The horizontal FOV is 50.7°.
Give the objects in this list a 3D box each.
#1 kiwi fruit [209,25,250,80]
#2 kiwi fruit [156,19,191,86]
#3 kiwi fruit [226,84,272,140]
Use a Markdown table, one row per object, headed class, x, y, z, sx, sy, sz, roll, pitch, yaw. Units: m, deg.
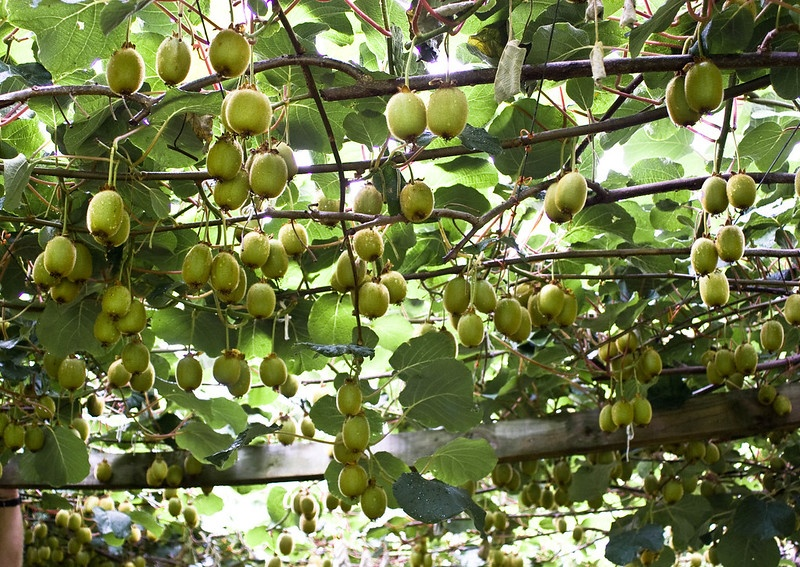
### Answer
| class | x | y | z | sx | sy | sz | roll | pitch | yaw |
| --- | --- | --- | --- | --- | --- | --- | --- | --- | --- |
| kiwi fruit | -0.439 | -0.597 | 2.173 | 0.104 | 0.123 | 0.103 | 2 | -11 | 31 |
| kiwi fruit | -0.588 | -0.583 | 2.199 | 0.076 | 0.074 | 0.126 | 8 | -82 | -20 |
| kiwi fruit | -0.390 | -0.438 | 2.166 | 0.115 | 0.104 | 0.085 | 2 | -37 | -4 |
